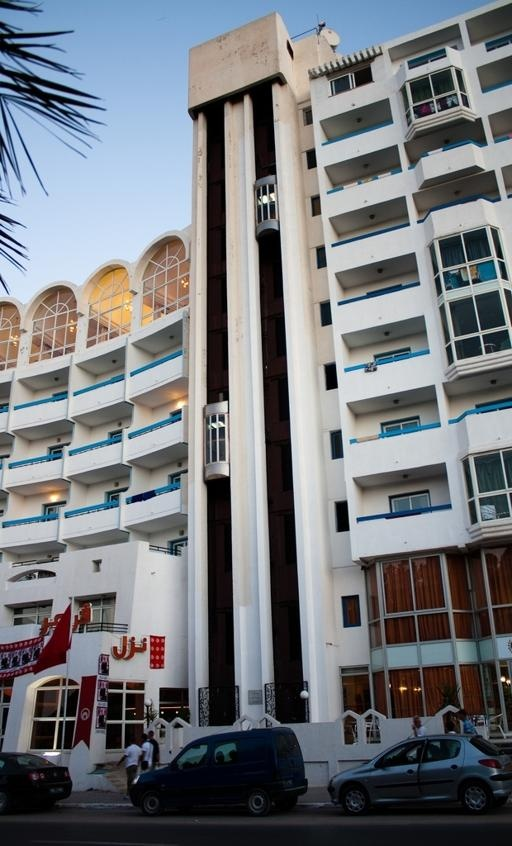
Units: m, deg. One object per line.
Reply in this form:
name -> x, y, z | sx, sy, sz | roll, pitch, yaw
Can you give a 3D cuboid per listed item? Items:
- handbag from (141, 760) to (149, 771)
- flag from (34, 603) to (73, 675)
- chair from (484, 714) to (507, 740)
handbag -> -3.330, 10.208, 17.030 | 0.186, 0.387, 0.197 | -9, -20, 13
flag -> -9.116, 9.868, 25.835 | 1.067, 2.396, 2.623 | 12, -29, -30
chair -> 8.723, 11.088, 20.827 | 0.671, 0.980, 0.733 | -9, -25, 20
